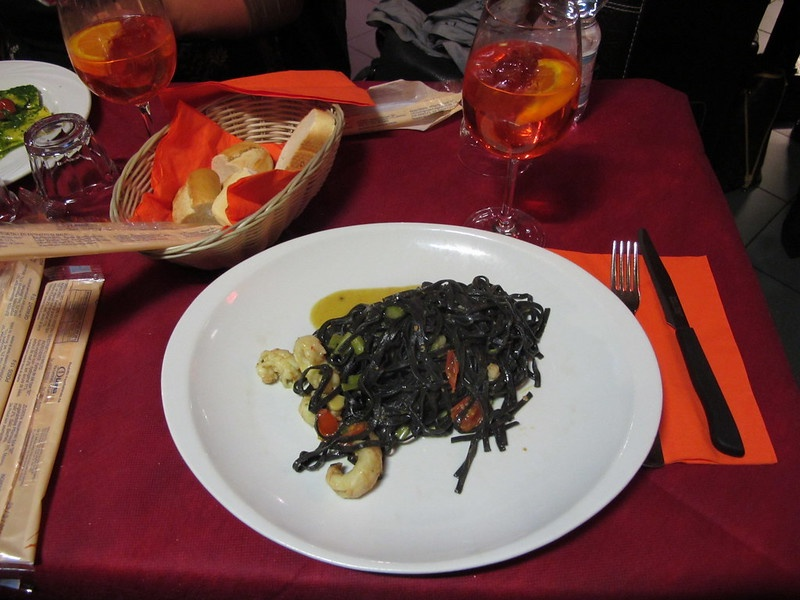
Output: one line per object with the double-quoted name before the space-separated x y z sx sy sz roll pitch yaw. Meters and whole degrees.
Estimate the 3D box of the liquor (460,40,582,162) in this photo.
"liquor" 0.224 -0.383 1.174 0.183 0.160 0.214 -3 47 2

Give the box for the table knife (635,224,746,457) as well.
"table knife" 0.532 0.063 1.173 0.053 0.021 0.398 -3 48 6

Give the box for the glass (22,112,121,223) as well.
"glass" -0.769 -0.301 1.464 0.190 0.195 0.197 -31 61 -30

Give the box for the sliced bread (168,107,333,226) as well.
"sliced bread" -0.300 -0.257 1.417 0.317 0.080 0.274 -30 41 12

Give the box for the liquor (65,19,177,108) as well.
"liquor" -0.593 -0.524 1.404 0.176 0.161 0.196 -4 51 5

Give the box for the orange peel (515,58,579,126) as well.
"orange peel" 0.267 -0.390 1.158 0.097 0.033 0.137 35 66 23

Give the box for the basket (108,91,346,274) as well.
"basket" -0.357 -0.316 1.415 0.444 0.182 0.608 8 42 5
